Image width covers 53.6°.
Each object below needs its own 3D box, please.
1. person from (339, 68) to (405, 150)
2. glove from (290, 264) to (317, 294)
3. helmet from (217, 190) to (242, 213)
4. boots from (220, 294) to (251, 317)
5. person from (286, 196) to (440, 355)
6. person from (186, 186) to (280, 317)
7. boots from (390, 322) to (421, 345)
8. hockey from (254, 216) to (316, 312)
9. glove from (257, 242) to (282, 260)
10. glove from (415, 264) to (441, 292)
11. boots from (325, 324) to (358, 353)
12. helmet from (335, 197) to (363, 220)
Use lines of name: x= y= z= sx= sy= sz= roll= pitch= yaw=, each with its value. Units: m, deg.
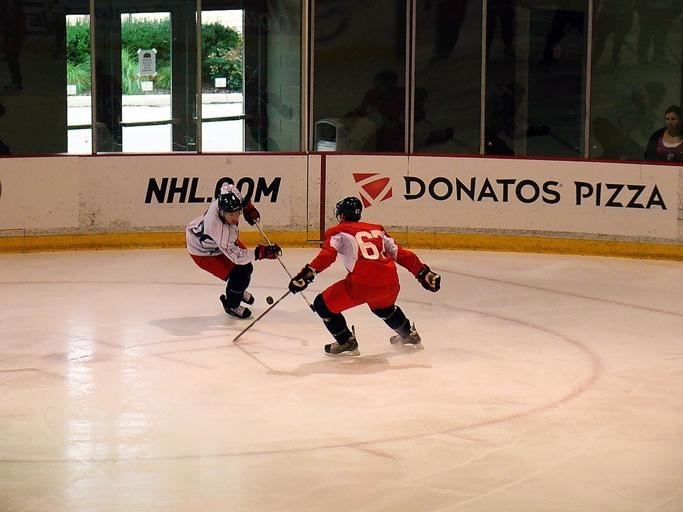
person: x=0.546 y=-2.146 z=9.947 sx=0.747 sy=1.168 sz=0.251 roll=1 pitch=10 yaw=1
glove: x=-0.271 y=0.163 z=4.687 sx=0.238 sy=0.139 sz=0.098 roll=-45 pitch=13 yaw=0
helmet: x=-0.914 y=-0.443 z=5.505 sx=0.153 sy=0.152 sz=0.192 roll=-5 pitch=-2 yaw=-11
boots: x=-0.898 y=0.459 z=5.770 sx=0.341 sy=0.141 sz=0.118 roll=18 pitch=43 yaw=28
person: x=0.211 y=0.160 z=5.876 sx=1.347 sy=1.100 sz=0.487 roll=-8 pitch=25 yaw=-12
person: x=-1.078 y=-0.038 z=6.472 sx=0.846 sy=0.700 sz=1.229 roll=-2 pitch=-29 yaw=3
boots: x=0.468 y=0.586 z=5.061 sx=0.249 sy=0.173 sz=0.088 roll=2 pitch=51 yaw=38
hockey: x=-0.610 y=0.072 z=6.928 sx=0.115 sy=0.212 sz=1.348 roll=47 pitch=7 yaw=-48
glove: x=-0.591 y=-0.034 z=5.353 sx=0.149 sy=0.062 sz=0.138 roll=-8 pitch=-13 yaw=39
glove: x=0.662 y=0.131 z=4.884 sx=0.194 sy=0.087 sz=0.193 roll=43 pitch=-10 yaw=-2
boots: x=0.023 y=0.609 z=4.938 sx=0.344 sy=0.231 sz=0.120 roll=2 pitch=25 yaw=3
helmet: x=0.076 y=-0.328 z=4.905 sx=0.158 sy=0.174 sz=0.182 roll=-4 pitch=31 yaw=-22
